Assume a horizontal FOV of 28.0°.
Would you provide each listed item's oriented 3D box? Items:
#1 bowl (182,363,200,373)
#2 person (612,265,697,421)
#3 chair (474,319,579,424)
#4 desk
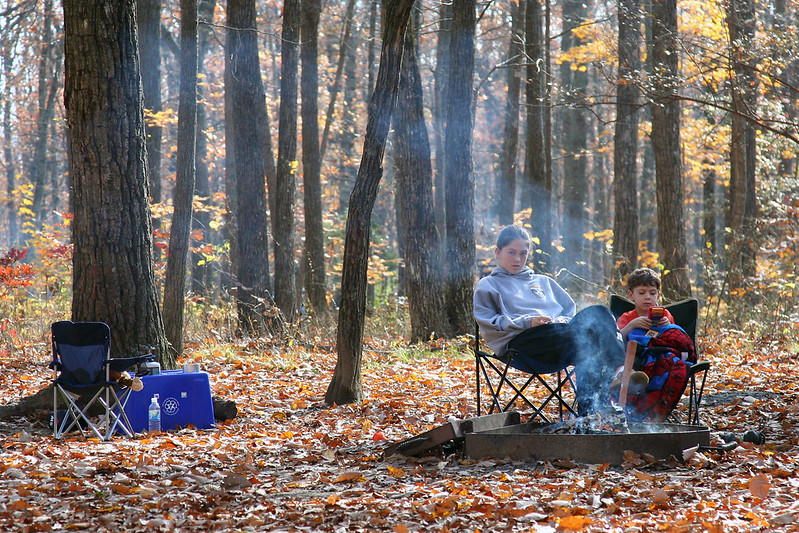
[{"bbox_3d":[-4.035,1.942,31.162,0.196,0.115,0.197,1,-2,0],"label":"bowl"},{"bbox_3d":[4.759,1.432,29.933,1.359,2.474,0.800,-2,-1,7],"label":"person"},{"bbox_3d":[2.705,1.767,31.254,1.612,2.595,1.741,4,20,10],"label":"chair"},{"bbox_3d":[-4.490,2.626,31.375,1.939,1.291,1.052,-1,-8,-13],"label":"desk"}]
